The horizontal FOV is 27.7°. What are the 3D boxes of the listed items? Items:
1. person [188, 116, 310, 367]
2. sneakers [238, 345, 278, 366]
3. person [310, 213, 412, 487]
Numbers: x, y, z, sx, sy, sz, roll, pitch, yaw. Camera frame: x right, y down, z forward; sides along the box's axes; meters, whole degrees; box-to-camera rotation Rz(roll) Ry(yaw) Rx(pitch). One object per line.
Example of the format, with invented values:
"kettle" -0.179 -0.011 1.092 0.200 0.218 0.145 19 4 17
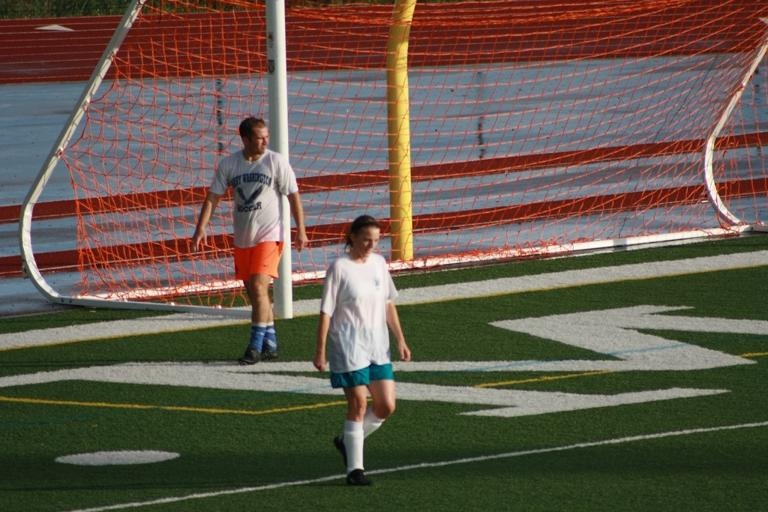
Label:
"person" -1.735 -0.177 20.740 1.279 3.254 0.398 -4 2 -5
"sneakers" -1.670 1.358 20.848 0.605 0.216 0.210 -1 -1 -41
"person" -0.277 1.121 18.208 1.085 3.130 0.380 -4 2 -4
